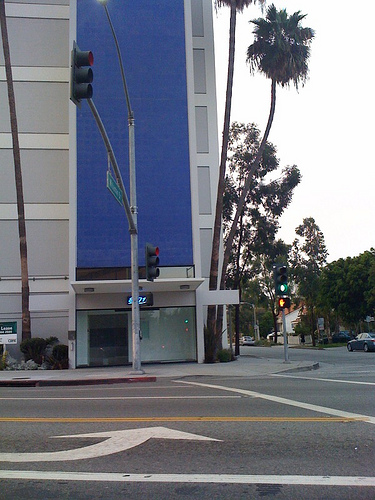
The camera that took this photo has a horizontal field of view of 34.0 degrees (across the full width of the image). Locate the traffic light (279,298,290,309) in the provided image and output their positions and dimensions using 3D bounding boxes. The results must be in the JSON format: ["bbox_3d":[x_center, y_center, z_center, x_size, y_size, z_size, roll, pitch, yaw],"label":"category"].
[{"bbox_3d":[3.531,1.928,22.137,0.329,0.370,0.586,-5,-7,18],"label":"traffic light"}]

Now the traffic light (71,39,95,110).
[{"bbox_3d":[-1.857,-3.162,10.682,0.374,1.300,0.725,-1,-6,-9],"label":"traffic light"}]

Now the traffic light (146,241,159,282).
[{"bbox_3d":[-0.982,0.304,17.088,0.335,1.046,0.530,-2,-6,-5],"label":"traffic light"}]
